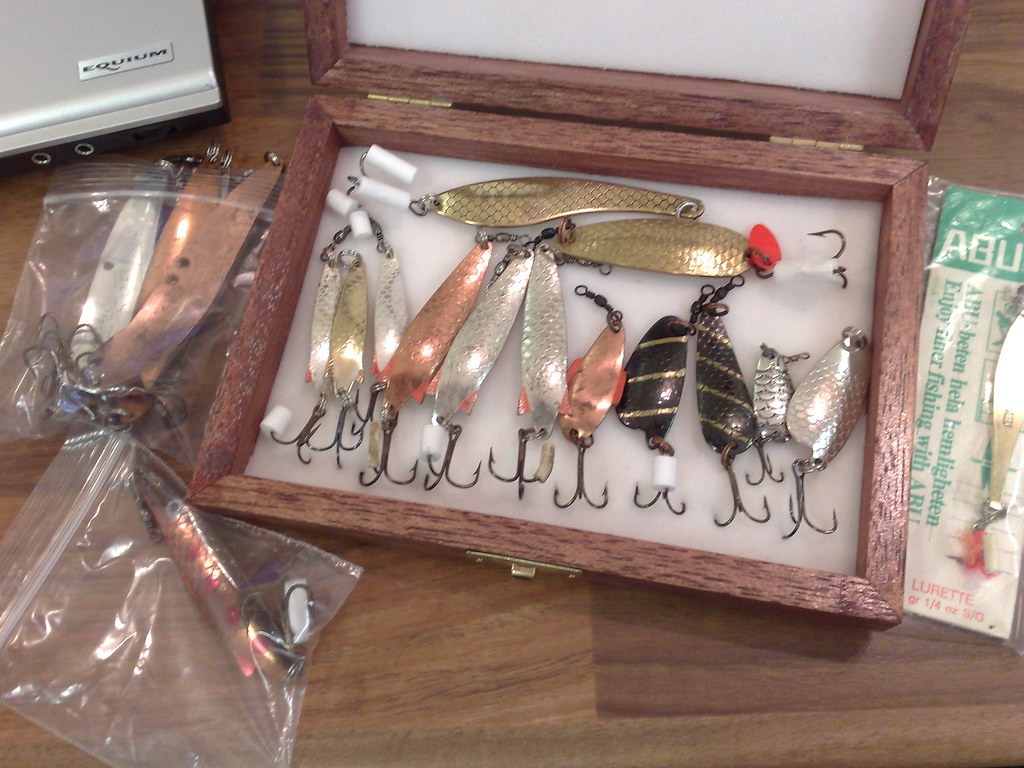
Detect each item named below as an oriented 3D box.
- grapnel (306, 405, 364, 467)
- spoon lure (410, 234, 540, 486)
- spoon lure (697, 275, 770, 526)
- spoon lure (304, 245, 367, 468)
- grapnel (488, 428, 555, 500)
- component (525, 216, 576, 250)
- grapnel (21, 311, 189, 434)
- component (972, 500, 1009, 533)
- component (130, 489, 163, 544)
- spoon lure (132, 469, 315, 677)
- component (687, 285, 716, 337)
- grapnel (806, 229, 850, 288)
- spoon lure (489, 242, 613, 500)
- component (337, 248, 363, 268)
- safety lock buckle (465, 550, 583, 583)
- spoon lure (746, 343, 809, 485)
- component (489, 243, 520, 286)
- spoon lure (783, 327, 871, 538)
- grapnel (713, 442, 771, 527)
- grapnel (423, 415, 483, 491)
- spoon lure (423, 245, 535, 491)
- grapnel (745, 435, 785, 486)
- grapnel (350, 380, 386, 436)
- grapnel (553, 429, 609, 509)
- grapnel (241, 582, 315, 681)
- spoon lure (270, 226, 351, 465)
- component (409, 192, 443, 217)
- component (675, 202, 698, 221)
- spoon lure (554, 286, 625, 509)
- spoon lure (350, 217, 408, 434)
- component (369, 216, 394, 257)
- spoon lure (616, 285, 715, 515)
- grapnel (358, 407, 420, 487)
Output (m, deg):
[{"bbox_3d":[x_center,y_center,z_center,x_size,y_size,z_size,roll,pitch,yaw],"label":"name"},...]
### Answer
[{"bbox_3d":[-0.247,0.078,1.211,0.081,0.096,0.011,-13,-48,4],"label":"grapnel"},{"bbox_3d":[-0.041,-0.045,1.276,0.085,0.388,0.057,20,-13,13],"label":"spoon lure"},{"bbox_3d":[0.290,0.013,1.197,0.087,0.392,0.042,-9,-31,15],"label":"spoon lure"},{"bbox_3d":[-0.238,-0.047,1.206,0.058,0.283,0.031,4,-18,2],"label":"spoon lure"},{"bbox_3d":[0.011,0.108,1.181,0.091,0.096,0.029,6,-15,1],"label":"grapnel"},{"bbox_3d":[0.057,-0.216,1.266,0.061,0.027,0.013,-28,-73,30],"label":"component"},{"bbox_3d":[-0.601,-0.012,1.296,0.253,0.167,0.065,2,-15,16],"label":"grapnel"},{"bbox_3d":[0.631,0.178,1.166,0.031,0.044,0.016,37,-1,25],"label":"component"},{"bbox_3d":[-0.518,0.193,1.249,0.024,0.104,0.018,-29,-23,4],"label":"component"},{"bbox_3d":[-0.437,0.259,1.269,0.464,0.102,0.082,35,-32,36],"label":"spoon lure"},{"bbox_3d":[0.258,-0.103,1.230,0.025,0.086,0.006,14,-29,15],"label":"component"},{"bbox_3d":[0.426,-0.169,1.199,0.068,0.028,0.091,11,-47,19],"label":"grapnel"},{"bbox_3d":[0.035,-0.031,1.203,0.069,0.320,0.040,5,-17,6],"label":"spoon lure"},{"bbox_3d":[-0.239,-0.185,1.292,0.028,0.027,0.006,3,-10,10],"label":"component"},{"bbox_3d":[0.012,0.242,1.144,0.150,0.024,0.117,7,-14,-2],"label":"safety lock buckle"},{"bbox_3d":[0.355,0.053,1.219,0.075,0.068,0.237,-12,-65,-2],"label":"spoon lure"},{"bbox_3d":[-0.013,-0.172,1.267,0.019,0.089,0.012,6,-34,39],"label":"component"},{"bbox_3d":[0.404,0.064,1.147,0.095,0.305,0.033,11,-26,31],"label":"spoon lure"},{"bbox_3d":[0.305,0.142,1.161,0.071,0.105,0.023,9,-15,-8],"label":"grapnel"},{"bbox_3d":[-0.082,0.100,1.190,0.097,0.111,0.008,8,-32,6],"label":"grapnel"},{"bbox_3d":[-0.072,-0.046,1.223,0.081,0.053,0.466,-2,-42,-24],"label":"spoon lure"},{"bbox_3d":[0.335,0.106,1.173,0.050,0.058,0.042,13,-6,-2],"label":"grapnel"},{"bbox_3d":[-0.203,0.041,1.227,0.033,0.092,0.030,18,-41,-8],"label":"grapnel"},{"bbox_3d":[0.091,0.120,1.179,0.103,0.143,0.010,0,-15,11],"label":"grapnel"},{"bbox_3d":[-0.316,0.329,1.190,0.086,0.130,0.033,-1,-8,-5],"label":"grapnel"},{"bbox_3d":[-0.265,-0.065,1.210,0.069,0.300,0.042,9,-20,3],"label":"spoon lure"},{"bbox_3d":[-0.124,-0.261,1.286,0.057,0.025,0.015,-4,8,37],"label":"component"},{"bbox_3d":[0.251,-0.245,1.251,0.036,0.018,0.016,4,-15,8],"label":"component"},{"bbox_3d":[0.104,0.016,1.199,0.104,0.331,0.031,18,-31,-7],"label":"spoon lure"},{"bbox_3d":[-0.192,-0.083,1.227,0.051,0.307,0.030,-1,-19,5],"label":"spoon lure"},{"bbox_3d":[-0.194,-0.214,1.296,0.013,0.060,0.018,-29,-15,5],"label":"component"},{"bbox_3d":[0.204,0.006,1.197,0.126,0.363,0.037,1,-30,19],"label":"spoon lure"},{"bbox_3d":[-0.167,0.094,1.201,0.104,0.136,0.022,0,-24,3],"label":"grapnel"}]
